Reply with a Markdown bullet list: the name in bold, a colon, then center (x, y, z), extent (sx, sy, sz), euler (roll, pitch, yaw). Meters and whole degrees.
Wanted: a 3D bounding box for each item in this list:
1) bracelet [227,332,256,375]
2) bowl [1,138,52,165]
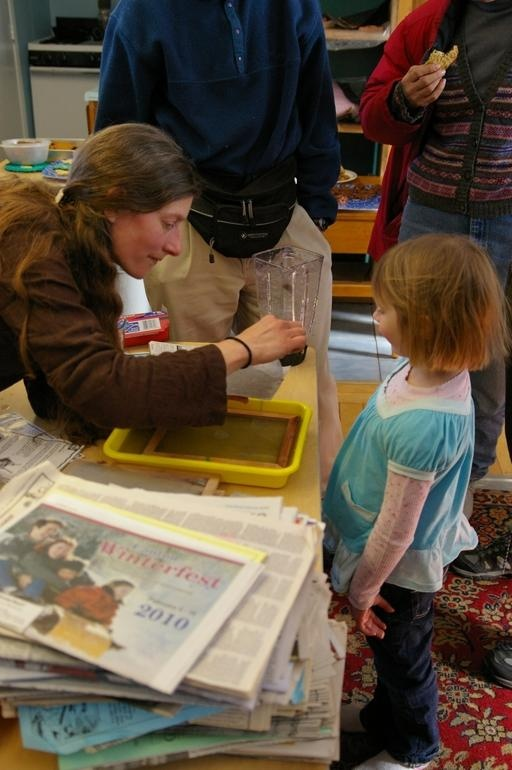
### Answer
- **bracelet**: center (-0.017, -0.054, 1.044), extent (0.014, 0.051, 0.054), euler (-28, -9, 6)
- **bowl**: center (-0.982, -0.992, 2.631), extent (0.154, 0.063, 0.141), euler (2, 27, -1)
